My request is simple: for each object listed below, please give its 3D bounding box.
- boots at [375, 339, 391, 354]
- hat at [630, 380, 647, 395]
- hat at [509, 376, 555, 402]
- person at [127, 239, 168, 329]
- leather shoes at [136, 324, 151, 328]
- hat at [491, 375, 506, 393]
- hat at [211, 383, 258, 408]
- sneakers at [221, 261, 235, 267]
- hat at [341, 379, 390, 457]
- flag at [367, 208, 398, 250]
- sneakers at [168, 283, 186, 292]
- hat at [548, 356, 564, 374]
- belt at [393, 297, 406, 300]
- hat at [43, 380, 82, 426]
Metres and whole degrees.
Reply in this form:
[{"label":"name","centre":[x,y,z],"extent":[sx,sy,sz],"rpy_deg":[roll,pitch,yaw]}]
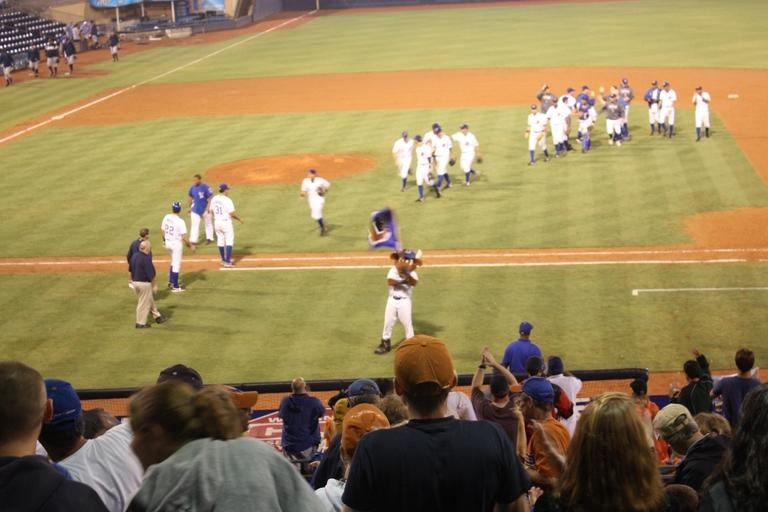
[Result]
[{"label":"boots","centre":[-0.007,2.204,24.334],"extent":[0.554,0.299,0.234],"rpy_deg":[2,8,3]},{"label":"hat","centre":[4.972,2.553,19.527],"extent":[0.282,0.341,0.357],"rpy_deg":[0,16,10]},{"label":"hat","centre":[2.717,2.367,17.696],"extent":[0.529,0.426,0.312],"rpy_deg":[-1,16,5]},{"label":"person","centre":[-6.146,0.658,25.542],"extent":[0.713,2.253,0.838],"rpy_deg":[-7,17,-10]},{"label":"leather shoes","centre":[-6.159,1.773,25.536],"extent":[0.274,0.090,0.134],"rpy_deg":[-1,16,3]},{"label":"hat","centre":[2.145,2.408,18.669],"extent":[0.269,0.344,0.237],"rpy_deg":[8,20,34]},{"label":"hat","centre":[-2.317,2.372,16.744],"extent":[0.723,0.219,0.712],"rpy_deg":[8,-1,34]},{"label":"sneakers","centre":[-4.452,0.222,28.415],"extent":[0.379,0.129,0.125],"rpy_deg":[2,14,20]},{"label":"hat","centre":[-0.359,2.774,17.316],"extent":[0.793,0.529,1.164],"rpy_deg":[1,18,2]},{"label":"flag","centre":[0.038,-0.638,23.641],"extent":[0.894,0.900,0.427],"rpy_deg":[-1,-4,9]},{"label":"sneakers","centre":[-5.658,0.883,27.271],"extent":[0.480,0.185,0.178],"rpy_deg":[1,6,34]},{"label":"hat","centre":[3.398,2.167,19.917],"extent":[0.293,0.342,0.376],"rpy_deg":[4,23,7]},{"label":"belt","centre":[0.368,0.978,23.774],"extent":[0.251,0.079,0.032],"rpy_deg":[-2,17,2]},{"label":"hat","centre":[-5.154,2.289,15.928],"extent":[0.535,0.838,0.429],"rpy_deg":[-8,18,-17]}]
